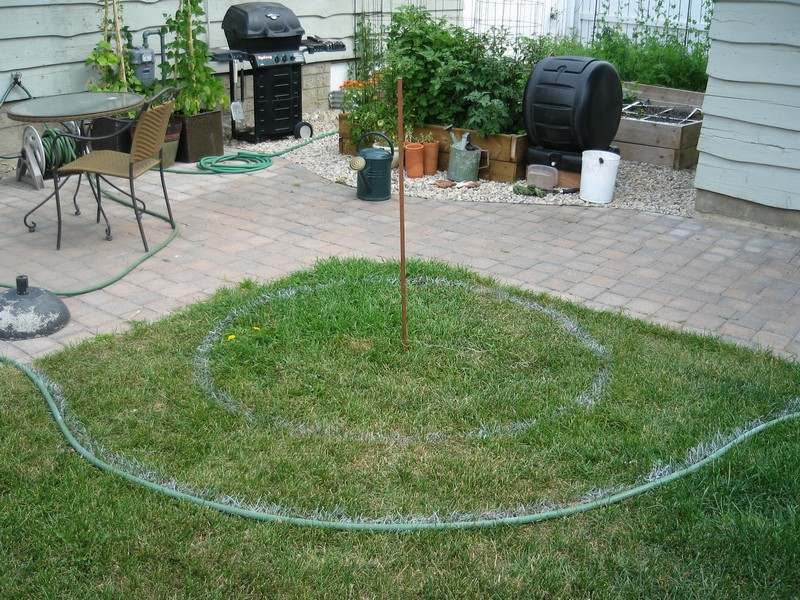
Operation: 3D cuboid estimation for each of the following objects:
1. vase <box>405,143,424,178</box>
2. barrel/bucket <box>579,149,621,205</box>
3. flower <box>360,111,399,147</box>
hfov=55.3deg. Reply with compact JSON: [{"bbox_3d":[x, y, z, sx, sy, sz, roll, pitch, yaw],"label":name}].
[{"bbox_3d":[0.148,-1.437,7.870,0.170,0.336,0.238,8,18,20],"label":"vase"},{"bbox_3d":[1.839,-1.194,7.408,0.504,0.503,0.462,-1,19,0],"label":"barrel/bucket"},{"bbox_3d":[-0.241,-1.847,8.238,0.411,0.344,0.422,0,17,-3],"label":"flower"}]
